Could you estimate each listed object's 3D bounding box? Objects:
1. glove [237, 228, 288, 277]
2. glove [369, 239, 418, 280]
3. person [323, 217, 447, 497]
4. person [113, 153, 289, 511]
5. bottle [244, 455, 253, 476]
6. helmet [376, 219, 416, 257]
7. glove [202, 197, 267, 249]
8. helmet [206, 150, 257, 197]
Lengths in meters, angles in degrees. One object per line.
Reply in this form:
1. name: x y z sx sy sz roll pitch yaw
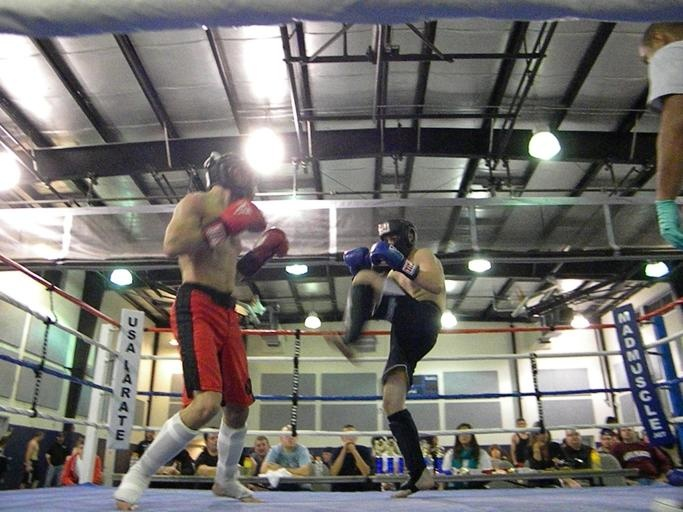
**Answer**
1. glove: -0.446 -0.015 2.781 0.370 0.150 0.174 -32 -18 -29
2. glove: 0.264 0.035 2.748 0.290 0.186 0.102 20 -68 3
3. person: 0.292 0.456 2.725 0.622 1.606 0.579 -12 -28 17
4. person: -0.633 0.307 2.505 0.718 1.752 0.776 7 -29 -20
5. bottle: -1.010 2.295 5.348 0.072 0.133 0.161 -4 -62 -3
6. helmet: 0.369 -0.139 3.084 0.263 0.195 0.213 -2 -4 -38
7. glove: -0.515 -0.157 2.489 0.163 0.334 0.362 -13 -26 19
8. helmet: -0.636 -0.408 2.625 0.282 0.223 0.216 -18 29 -39
